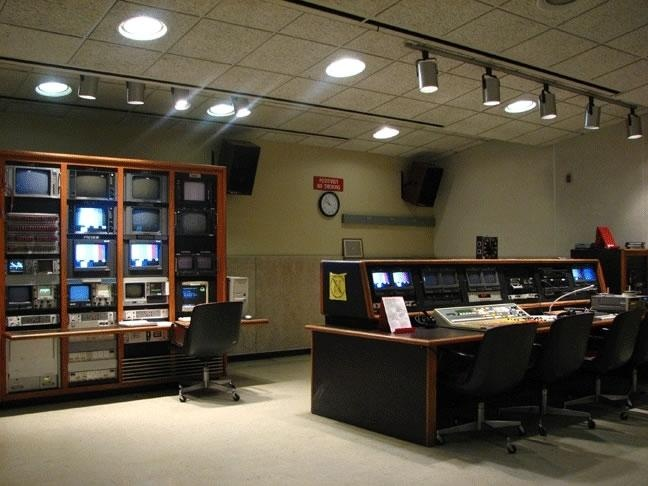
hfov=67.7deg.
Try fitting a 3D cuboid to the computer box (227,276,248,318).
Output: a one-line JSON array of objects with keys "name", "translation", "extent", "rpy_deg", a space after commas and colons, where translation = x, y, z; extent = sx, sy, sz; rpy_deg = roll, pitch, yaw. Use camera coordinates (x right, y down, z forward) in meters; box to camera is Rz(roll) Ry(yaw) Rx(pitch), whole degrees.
[{"name": "computer box", "translation": [-1.246, 0.719, 6.646], "extent": [0.417, 0.501, 0.384], "rpy_deg": [2, 2, -18]}]

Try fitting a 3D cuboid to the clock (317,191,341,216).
[{"name": "clock", "translation": [0.063, -0.684, 8.300], "extent": [0.530, 0.432, 0.072], "rpy_deg": [0, -2, -37]}]

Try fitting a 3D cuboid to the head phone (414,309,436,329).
[{"name": "head phone", "translation": [0.955, 0.732, 4.593], "extent": [0.196, 0.148, 0.119], "rpy_deg": [-1, 3, -29]}]

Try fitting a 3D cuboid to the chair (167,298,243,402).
[{"name": "chair", "translation": [-1.443, 1.253, 5.959], "extent": [0.752, 1.142, 1.303], "rpy_deg": [-1, 0, -17]}]

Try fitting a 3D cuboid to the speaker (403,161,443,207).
[{"name": "speaker", "translation": [1.799, -1.116, 8.967], "extent": [0.689, 0.735, 0.417], "rpy_deg": [25, 9, -14]}]

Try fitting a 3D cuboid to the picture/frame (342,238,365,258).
[{"name": "picture/frame", "translation": [0.497, 0.091, 8.503], "extent": [0.424, 0.295, 0.041], "rpy_deg": [1, -10, -32]}]

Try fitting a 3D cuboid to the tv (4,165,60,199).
[{"name": "tv", "translation": [-3.310, -0.587, 5.536], "extent": [0.635, 0.373, 0.344], "rpy_deg": [1, -1, -32]}]

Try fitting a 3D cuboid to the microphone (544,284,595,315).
[{"name": "microphone", "translation": [2.849, 0.669, 5.687], "extent": [0.701, 0.235, 0.141], "rpy_deg": [-10, 20, 1]}]

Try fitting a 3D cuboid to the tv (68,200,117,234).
[{"name": "tv", "translation": [-2.800, -0.266, 5.901], "extent": [0.708, 0.419, 0.363], "rpy_deg": [1, -4, -34]}]

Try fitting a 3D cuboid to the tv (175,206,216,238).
[{"name": "tv", "translation": [-1.630, -0.259, 6.214], "extent": [0.602, 0.350, 0.328], "rpy_deg": [-1, 7, -23]}]

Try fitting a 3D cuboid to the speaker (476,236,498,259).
[{"name": "speaker", "translation": [1.907, 0.053, 5.686], "extent": [0.361, 0.262, 0.117], "rpy_deg": [1, 0, -20]}]

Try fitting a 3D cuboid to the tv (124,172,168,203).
[{"name": "tv", "translation": [-2.197, -0.654, 6.099], "extent": [0.695, 0.419, 0.351], "rpy_deg": [0, 0, -30]}]

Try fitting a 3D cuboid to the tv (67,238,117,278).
[{"name": "tv", "translation": [-2.747, 0.180, 5.704], "extent": [0.545, 0.406, 0.239], "rpy_deg": [2, -5, -32]}]

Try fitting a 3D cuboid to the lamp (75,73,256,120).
[{"name": "lamp", "translation": [-1.866, -1.673, 5.773], "extent": [1.922, 0.256, 1.049], "rpy_deg": [-1, -1, -36]}]

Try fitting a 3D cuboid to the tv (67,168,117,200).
[{"name": "tv", "translation": [-2.743, -0.637, 5.799], "extent": [0.649, 0.376, 0.349], "rpy_deg": [0, -1, -30]}]
